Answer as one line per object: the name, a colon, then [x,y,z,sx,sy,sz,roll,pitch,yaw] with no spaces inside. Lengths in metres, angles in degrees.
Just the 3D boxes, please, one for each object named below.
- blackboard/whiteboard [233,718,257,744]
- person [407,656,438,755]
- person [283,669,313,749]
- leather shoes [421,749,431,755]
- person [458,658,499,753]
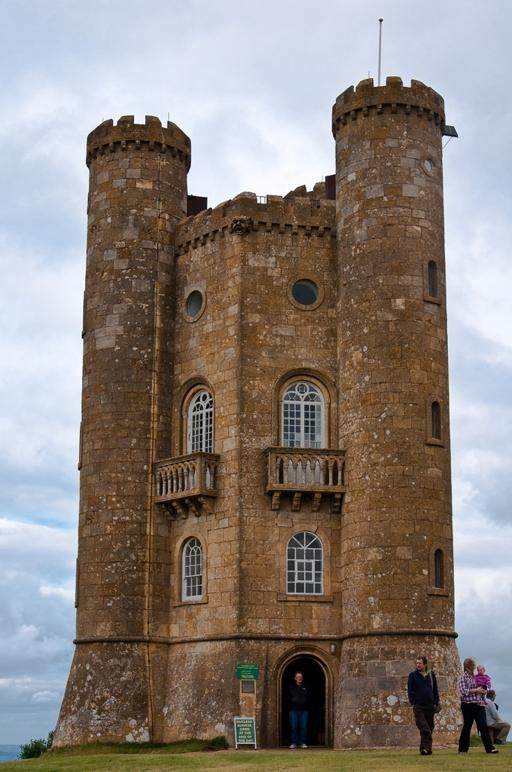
blackboard/whiteboard: [-0.304,8.719,29.720,0.513,0.692,0.124,13,-52,-16]
person: [2.991,5.714,21.046,0.483,1.672,0.741,-5,-15,18]
person: [1.096,8.263,30.130,0.511,1.861,0.889,-1,-14,3]
leather shoes: [3.011,6.447,20.779,0.186,0.114,0.411,-2,-16,8]
person: [4.040,5.833,21.453,0.645,1.736,0.593,-4,-14,17]
